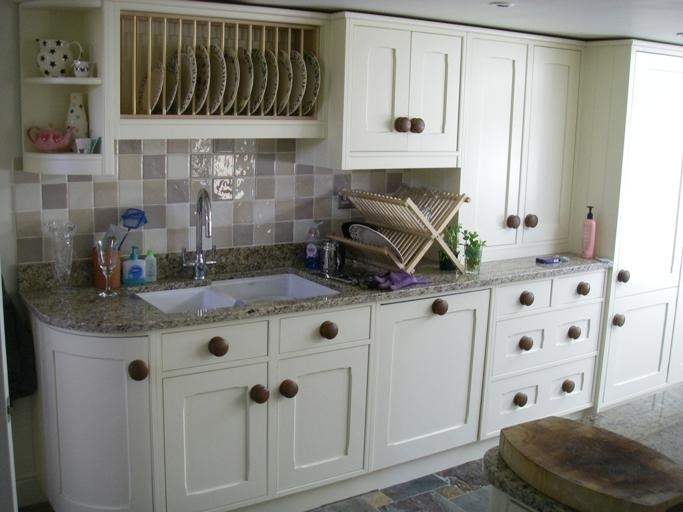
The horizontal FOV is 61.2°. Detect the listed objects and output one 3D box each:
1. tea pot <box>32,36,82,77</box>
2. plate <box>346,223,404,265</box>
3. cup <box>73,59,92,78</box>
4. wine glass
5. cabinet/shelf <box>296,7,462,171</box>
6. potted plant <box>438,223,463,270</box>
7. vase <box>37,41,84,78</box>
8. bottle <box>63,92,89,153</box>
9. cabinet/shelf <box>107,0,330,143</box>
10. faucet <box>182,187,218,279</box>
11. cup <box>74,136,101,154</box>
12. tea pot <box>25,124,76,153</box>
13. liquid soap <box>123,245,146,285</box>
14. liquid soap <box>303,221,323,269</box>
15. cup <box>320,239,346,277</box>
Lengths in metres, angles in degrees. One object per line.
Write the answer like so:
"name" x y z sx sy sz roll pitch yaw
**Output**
"tea pot" -1.204 -0.835 2.463 0.180 0.146 0.145 1 14 -10
"plate" 0.167 -0.074 2.993 0.373 0.169 0.124 13 17 43
"cup" -1.091 -0.786 2.415 0.065 0.066 0.087 8 17 18
"wine glass" -1.165 -0.003 2.635 0.344 0.312 0.205 3 13 11
"cabinet/shelf" 0.285 -0.820 3.002 0.719 0.713 0.307 -4 12 -24
"potted plant" 0.603 -0.050 3.148 0.122 0.241 0.194 5 13 19
"vase" -1.207 -0.844 2.467 0.177 0.148 0.146 -5 24 -24
"bottle" -1.157 -0.602 2.521 0.074 0.209 0.074 -7 -14 -2
"cabinet/shelf" -0.549 -0.835 2.676 0.979 0.582 0.368 -4 13 -22
"faucet" -0.692 -0.099 2.780 0.171 0.451 0.310 -2 13 -13
"cup" -1.087 -0.467 2.441 0.138 0.067 0.057 4 13 13
"tea pot" -1.255 -0.499 2.472 0.183 0.112 0.129 -1 -7 -11
"liquid soap" -0.981 0.043 2.731 0.100 0.182 0.062 -9 25 -32
"liquid soap" -0.155 -0.052 3.101 0.094 0.239 0.082 2 13 30
"cup" -0.061 0.024 2.980 0.090 0.174 0.053 -3 -3 11
